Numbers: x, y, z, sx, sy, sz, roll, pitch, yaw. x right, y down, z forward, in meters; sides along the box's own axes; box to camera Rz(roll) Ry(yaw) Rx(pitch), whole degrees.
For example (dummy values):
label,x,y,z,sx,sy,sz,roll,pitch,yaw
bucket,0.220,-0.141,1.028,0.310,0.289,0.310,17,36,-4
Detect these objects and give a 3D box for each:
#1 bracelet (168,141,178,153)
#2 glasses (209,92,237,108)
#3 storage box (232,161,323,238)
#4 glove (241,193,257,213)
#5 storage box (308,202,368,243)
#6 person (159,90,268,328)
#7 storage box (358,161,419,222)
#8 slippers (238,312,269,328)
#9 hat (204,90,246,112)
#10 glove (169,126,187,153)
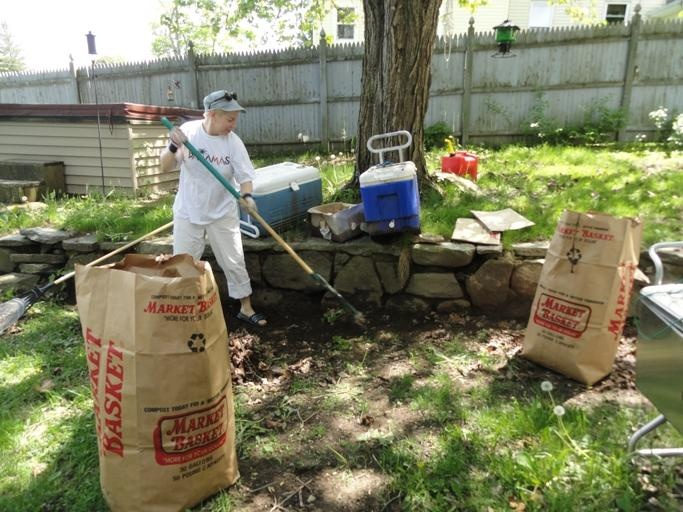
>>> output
label,x,y,z,sx,sy,sz,roll,pitch,yaw
bracelet,-1.415,-0.925,4.648,0.078,0.084,0.077,3,3,-7
glasses,-1.004,-1.333,4.686,0.186,0.064,0.156,-13,4,14
storage box,-0.623,-0.560,5.907,0.881,0.575,0.610,-22,23,-34
glove,-0.822,-0.476,4.890,0.116,0.143,0.178,-6,18,-12
storage box,-0.021,-0.356,5.670,0.414,0.296,0.525,10,22,35
person,-1.150,-0.376,5.012,0.794,2.133,0.429,-6,18,-11
storage box,0.479,-0.575,5.307,0.551,0.501,0.562,-7,5,11
slippers,-0.847,0.588,5.262,0.240,0.073,0.131,10,19,30
hat,-1.007,-1.326,4.743,0.329,0.178,0.237,0,15,8
glove,-1.352,-0.991,4.611,0.128,0.177,0.062,-3,15,-35
